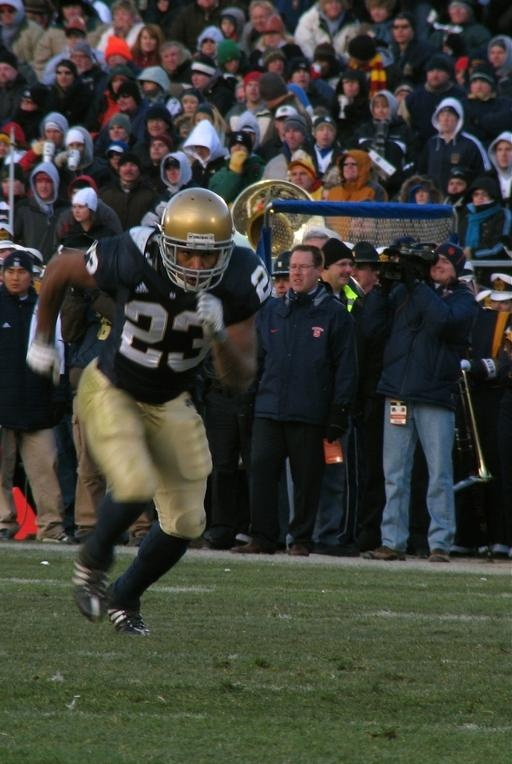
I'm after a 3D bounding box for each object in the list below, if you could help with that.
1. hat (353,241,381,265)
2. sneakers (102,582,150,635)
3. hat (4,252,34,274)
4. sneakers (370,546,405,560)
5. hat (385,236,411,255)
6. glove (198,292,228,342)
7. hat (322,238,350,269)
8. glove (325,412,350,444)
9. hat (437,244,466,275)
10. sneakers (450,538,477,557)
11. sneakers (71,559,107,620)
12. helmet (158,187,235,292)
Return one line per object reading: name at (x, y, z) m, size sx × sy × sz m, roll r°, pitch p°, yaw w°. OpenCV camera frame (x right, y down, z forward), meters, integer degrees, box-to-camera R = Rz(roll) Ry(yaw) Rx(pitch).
hat at (0.690, -0.802, 9.279) m, size 0.164 × 0.144 × 0.134 m, roll 1°, pitch 6°, yaw 2°
sneakers at (-0.505, 0.891, 5.805) m, size 0.161 × 0.196 × 0.180 m, roll 0°, pitch 6°, yaw -5°
hat at (-1.504, -0.746, 9.338) m, size 0.147 × 0.103 × 0.142 m, roll 3°, pitch 1°, yaw -9°
sneakers at (0.739, 0.989, 8.515) m, size 0.201 × 0.083 × 0.079 m, roll 10°, pitch 6°, yaw 20°
hat at (0.826, -0.781, 8.445) m, size 0.098 × 0.038 × 0.150 m, roll -7°, pitch 6°, yaw 27°
glove at (-0.164, -0.231, 5.293) m, size 0.094 × 0.155 × 0.062 m, roll 10°, pitch 34°, yaw 28°
hat at (0.485, -0.801, 9.221) m, size 0.140 × 0.192 × 0.283 m, roll 5°, pitch 7°, yaw 33°
glove at (0.469, 0.261, 8.523) m, size 0.132 × 0.170 × 0.178 m, roll 20°, pitch -12°, yaw 3°
hat at (1.130, -0.716, 8.651) m, size 0.122 × 0.188 × 0.402 m, roll 4°, pitch 7°, yaw 31°
sneakers at (1.295, 1.035, 9.268) m, size 0.171 × 0.046 × 0.104 m, roll -5°, pitch 17°, yaw -27°
sneakers at (-0.619, 0.777, 5.523) m, size 0.088 × 0.239 × 0.108 m, roll 7°, pitch -36°, yaw -37°
helmet at (-0.225, -0.526, 5.466) m, size 0.271 × 0.375 × 0.237 m, roll 0°, pitch 6°, yaw -4°
